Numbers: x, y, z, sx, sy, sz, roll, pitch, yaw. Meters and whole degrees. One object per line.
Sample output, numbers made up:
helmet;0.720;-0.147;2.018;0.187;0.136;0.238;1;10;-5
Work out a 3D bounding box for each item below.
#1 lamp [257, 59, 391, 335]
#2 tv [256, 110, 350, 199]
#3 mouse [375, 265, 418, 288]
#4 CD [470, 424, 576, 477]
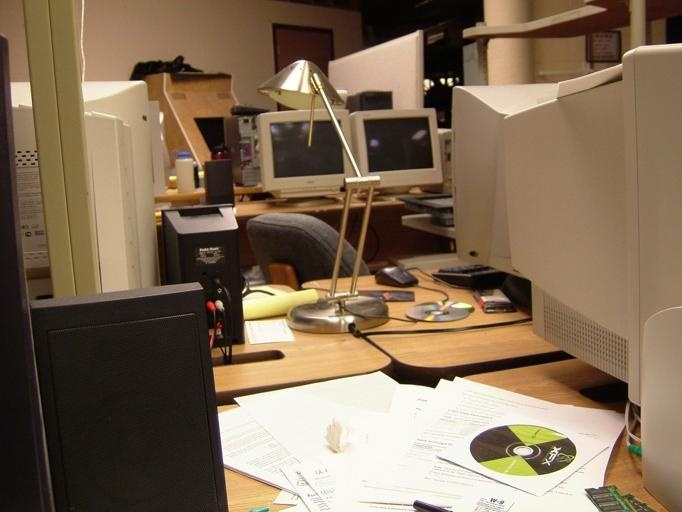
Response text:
lamp;-0.019;-0.107;1.439;0.277;0.707;0.307;-6;20;-24
tv;-0.200;-0.518;3.035;0.541;0.452;0.081;-2;18;-25
mouse;0.161;0.058;1.781;0.100;0.034;0.060;8;15;43
CD;0.272;0.289;0.873;0.157;0.024;0.116;-8;10;3
